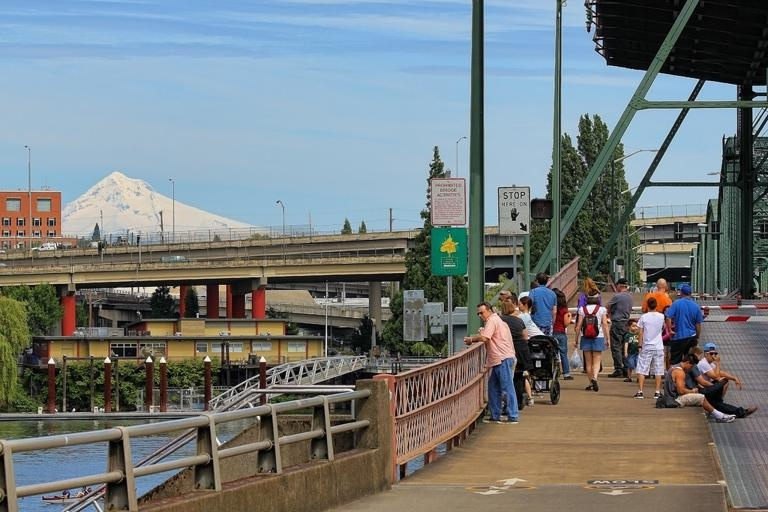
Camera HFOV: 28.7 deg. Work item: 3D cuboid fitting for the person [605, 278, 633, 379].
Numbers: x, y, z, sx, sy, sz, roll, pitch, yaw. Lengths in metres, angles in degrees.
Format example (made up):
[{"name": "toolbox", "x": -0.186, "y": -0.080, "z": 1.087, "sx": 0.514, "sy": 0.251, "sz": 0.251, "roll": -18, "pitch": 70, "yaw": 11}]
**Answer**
[{"name": "person", "x": 8.242, "y": 2.388, "z": 52.959, "sx": 1.119, "sy": 3.492, "sz": 0.915, "roll": -1, "pitch": 0, "yaw": 2}]
